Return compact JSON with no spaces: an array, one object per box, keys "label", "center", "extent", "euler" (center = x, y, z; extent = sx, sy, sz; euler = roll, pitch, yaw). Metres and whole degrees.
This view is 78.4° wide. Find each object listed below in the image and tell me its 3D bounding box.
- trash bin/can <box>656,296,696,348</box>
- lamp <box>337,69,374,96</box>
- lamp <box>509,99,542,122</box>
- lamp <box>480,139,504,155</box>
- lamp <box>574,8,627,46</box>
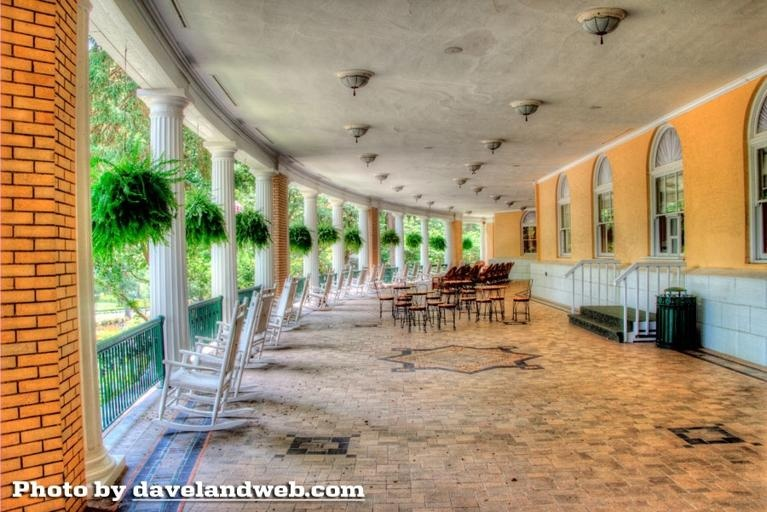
[{"label":"trash bin/can","center":[5.078,1.128,8.115],"extent":[0.618,0.910,0.296],"euler":[2,8,28]},{"label":"lamp","center":[-0.418,-2.670,7.274],"extent":[0.364,0.177,0.324],"euler":[0,-5,-9]},{"label":"lamp","center":[2.636,-2.686,8.685],"extent":[0.362,0.182,0.325],"euler":[-1,-5,0]},{"label":"lamp","center":[2.715,-2.698,11.546],"extent":[0.348,0.171,0.291],"euler":[-1,-6,-1]},{"label":"lamp","center":[2.664,-2.829,5.791],"extent":[0.467,0.235,0.427],"euler":[-1,-8,8]}]
